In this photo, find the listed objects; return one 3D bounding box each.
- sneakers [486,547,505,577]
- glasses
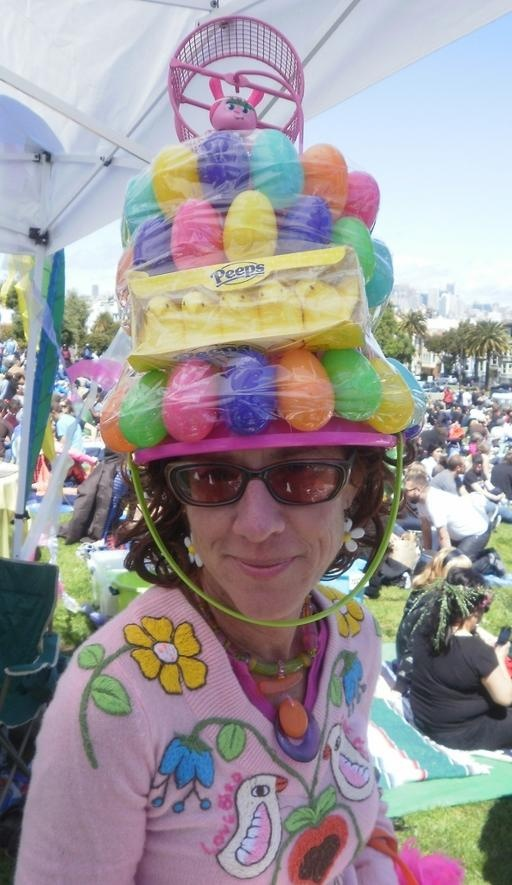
[{"bbox_3d":[2.945,1.466,8.051,0.163,0.125,0.356,5,-37,52],"label":"sneakers"},{"bbox_3d":[0.003,0.072,1.148,0.317,0.102,0.079,5,7,-2],"label":"glasses"}]
